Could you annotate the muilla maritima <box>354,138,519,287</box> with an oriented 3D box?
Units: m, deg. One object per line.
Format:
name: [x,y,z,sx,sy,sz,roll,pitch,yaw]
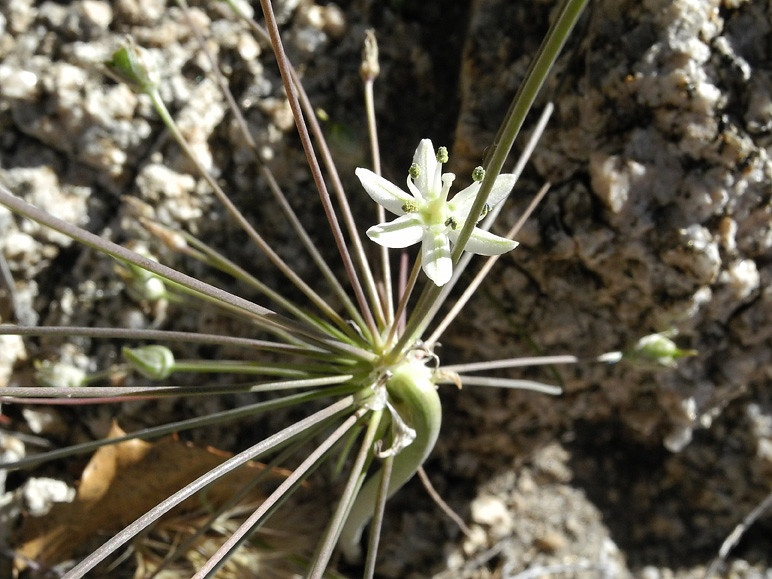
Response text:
muilla maritima: [0.181,-0.270,2.666,0.507,0.458,0.236,30,103,36]
